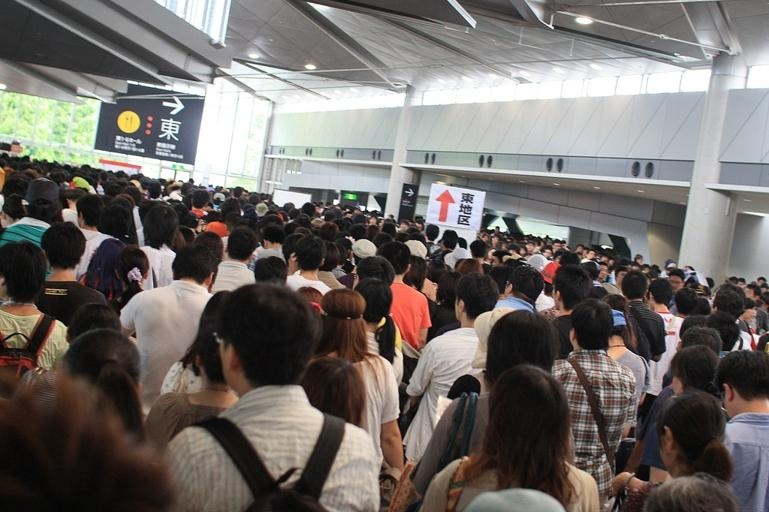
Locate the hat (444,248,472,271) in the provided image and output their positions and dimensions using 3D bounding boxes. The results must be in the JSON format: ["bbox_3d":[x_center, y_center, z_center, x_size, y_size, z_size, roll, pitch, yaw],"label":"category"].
[{"bbox_3d":[1.184,0.006,8.014,0.309,0.299,0.468,10,17,32],"label":"hat"}]

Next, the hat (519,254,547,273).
[{"bbox_3d":[1.993,0.096,6.562,0.310,0.123,0.218,-3,9,-30],"label":"hat"}]

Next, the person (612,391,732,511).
[{"bbox_3d":[2.005,1.367,3.517,0.392,1.178,0.306,15,3,13],"label":"person"}]

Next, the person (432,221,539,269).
[{"bbox_3d":[2.277,-0.287,10.885,1.944,0.661,0.745,-2,39,19],"label":"person"}]

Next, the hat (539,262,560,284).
[{"bbox_3d":[1.965,0.203,5.848,0.291,0.167,0.207,-6,14,-26],"label":"hat"}]

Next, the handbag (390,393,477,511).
[{"bbox_3d":[0.207,0.910,2.358,0.166,0.494,0.354,15,-17,13],"label":"handbag"}]
